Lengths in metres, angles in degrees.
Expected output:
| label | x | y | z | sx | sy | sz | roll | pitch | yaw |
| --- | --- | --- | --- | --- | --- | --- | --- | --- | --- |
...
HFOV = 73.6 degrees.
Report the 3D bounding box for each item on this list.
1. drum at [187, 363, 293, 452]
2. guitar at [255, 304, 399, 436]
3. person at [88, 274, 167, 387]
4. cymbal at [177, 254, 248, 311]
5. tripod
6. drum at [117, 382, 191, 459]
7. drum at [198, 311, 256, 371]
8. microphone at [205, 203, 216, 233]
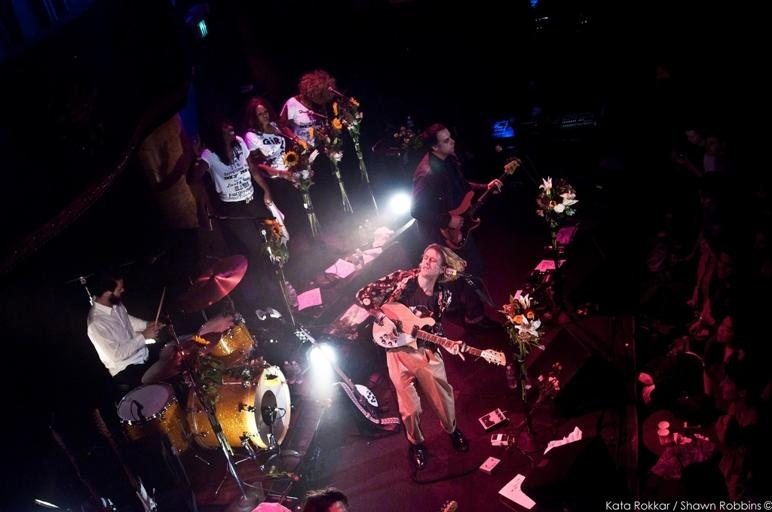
| label | x | y | z | sx | sy | sz | roll | pitch | yaw |
| --- | --- | --- | --- | --- | --- | --- | --- | --- | --- |
| drum | -2.337 | 2.423 | 8.017 | 1.388 | 1.394 | 1.437 | -10 | -16 | 19 |
| guitar | -0.924 | 1.964 | 8.481 | 0.515 | 1.132 | 3.239 | -36 | -65 | -3 |
| person | -4.225 | 1.240 | 8.318 | 0.699 | 0.677 | 1.695 | -9 | -32 | -2 |
| cymbal | -2.654 | 0.419 | 8.062 | 1.021 | 1.030 | 0.247 | 13 | -35 | 41 |
| tripod | -2.583 | 2.411 | 7.930 | 1.526 | 1.981 | 1.878 | -18 | -30 | -40 |
| drum | -3.479 | 2.395 | 7.862 | 1.123 | 0.846 | 0.648 | 23 | -38 | -22 |
| drum | -2.537 | 1.354 | 8.589 | 0.850 | 0.973 | 0.996 | 11 | 15 | 40 |
| microphone | -3.267 | -0.711 | 9.633 | 0.158 | 0.516 | 0.199 | -3 | 12 | -12 |
